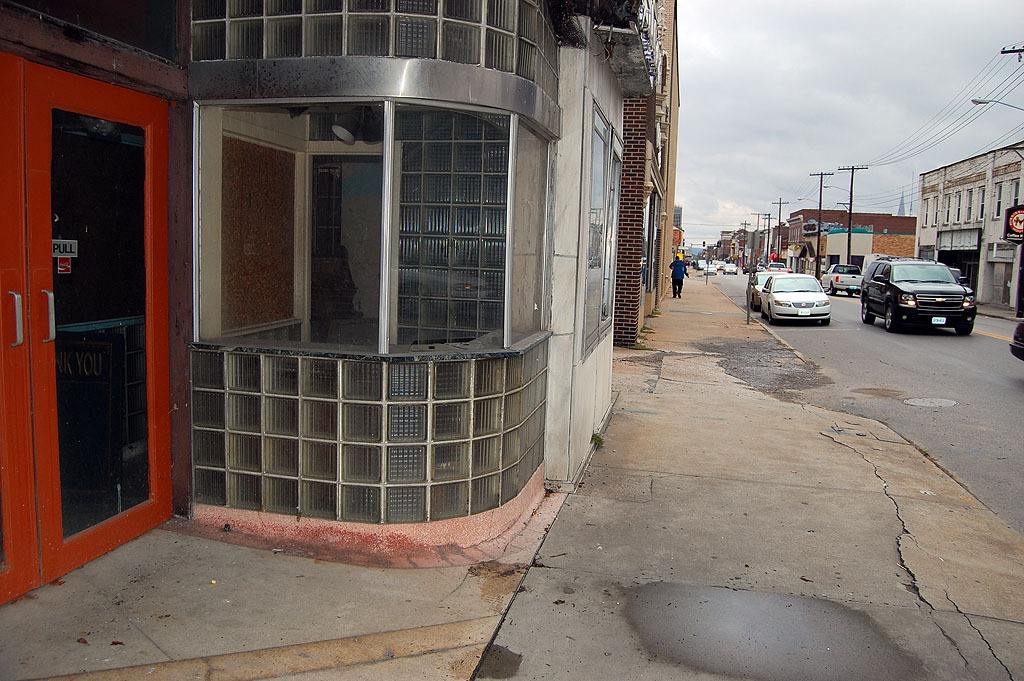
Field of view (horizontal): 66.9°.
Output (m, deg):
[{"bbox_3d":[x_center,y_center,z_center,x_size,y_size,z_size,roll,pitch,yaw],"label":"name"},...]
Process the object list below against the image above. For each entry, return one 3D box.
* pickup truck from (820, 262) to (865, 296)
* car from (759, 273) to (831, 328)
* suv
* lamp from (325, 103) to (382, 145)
[{"bbox_3d":[20.379,-3.649,47.902,2.093,1.626,3.846,1,9,11],"label":"pickup truck"},{"bbox_3d":[9.512,-1.310,25.998,1.984,1.512,2.528,6,12,13],"label":"car"},{"bbox_3d":[12.362,-1.252,23.581,2.024,2.171,3.672,4,12,6],"label":"suv"},{"bbox_3d":[-1.619,-2.202,8.054,0.518,0.316,0.645,-1,13,-17],"label":"lamp"}]
